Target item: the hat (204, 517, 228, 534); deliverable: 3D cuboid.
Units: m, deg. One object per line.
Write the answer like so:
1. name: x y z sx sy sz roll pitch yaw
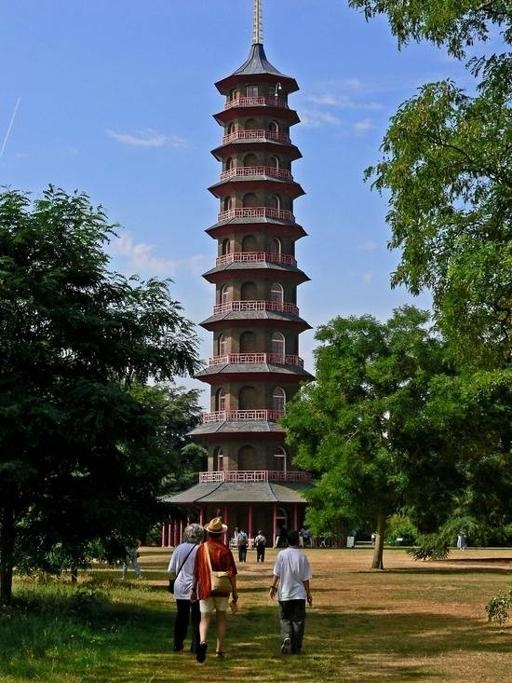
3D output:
1. hat: -0.526 2.462 16.629 0.369 0.126 0.394 0 -6 7

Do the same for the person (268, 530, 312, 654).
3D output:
1. person: 0.473 3.438 17.064 0.552 1.605 1.208 1 -13 1

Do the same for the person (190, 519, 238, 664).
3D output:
1. person: -0.544 3.251 16.423 0.552 1.889 0.509 9 -15 -27

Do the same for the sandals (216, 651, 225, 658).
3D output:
1. sandals: -0.462 4.104 16.386 0.113 0.095 0.073 0 1 -3

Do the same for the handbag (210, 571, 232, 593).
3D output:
1. handbag: -0.468 3.128 16.235 0.309 0.261 0.121 1 -16 -10

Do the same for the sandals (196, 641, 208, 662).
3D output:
1. sandals: -0.701 3.998 16.045 0.111 0.264 0.273 3 -13 -5

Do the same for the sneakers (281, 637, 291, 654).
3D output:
1. sneakers: 0.410 4.114 16.862 0.092 0.230 0.106 4 12 -5
